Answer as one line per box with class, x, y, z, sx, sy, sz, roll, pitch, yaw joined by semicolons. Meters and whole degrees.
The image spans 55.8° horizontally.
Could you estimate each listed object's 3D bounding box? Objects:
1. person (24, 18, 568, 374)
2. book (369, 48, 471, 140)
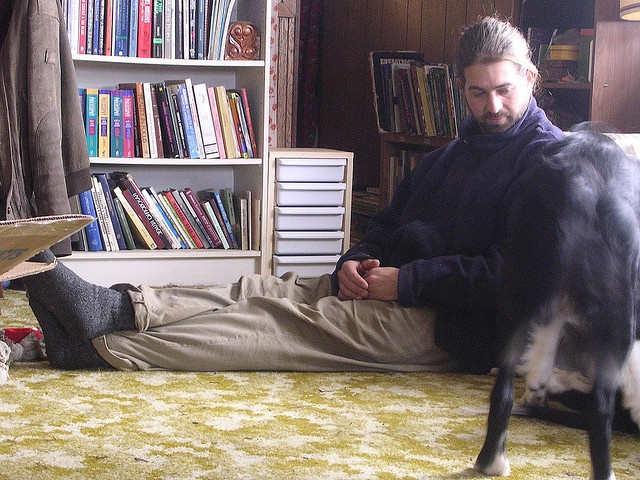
person;-0.005;-0.089;1.737;1.533;0.936;0.681;-7;22;-18
book;0.434;-0.664;2.799;0.439;0.188;0.571;2;10;-6
